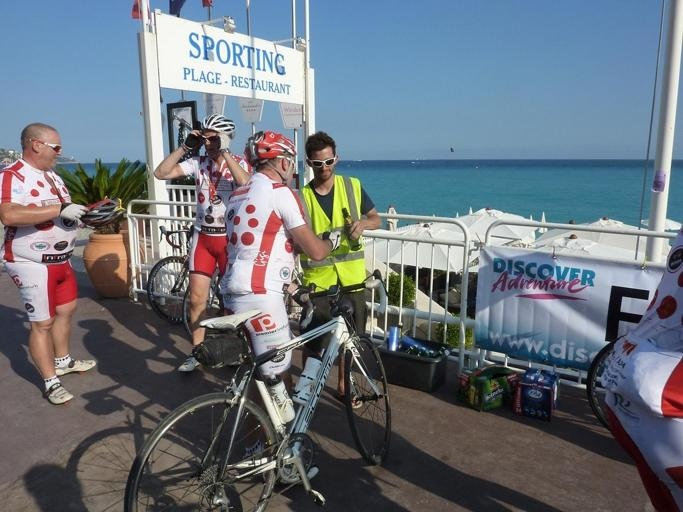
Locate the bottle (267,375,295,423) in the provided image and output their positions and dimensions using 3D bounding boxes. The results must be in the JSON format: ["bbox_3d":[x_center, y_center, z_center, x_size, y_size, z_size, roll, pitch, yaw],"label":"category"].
[{"bbox_3d":[-0.420,1.056,3.675,0.119,0.122,0.396,-1,28,-19],"label":"bottle"}]

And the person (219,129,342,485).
[{"bbox_3d":[-0.438,0.357,3.707,0.756,2.452,0.809,-7,15,-29],"label":"person"}]

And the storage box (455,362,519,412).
[{"bbox_3d":[1.517,1.314,5.201,0.509,0.336,0.377,-2,2,-28],"label":"storage box"}]

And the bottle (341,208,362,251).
[{"bbox_3d":[0.091,-0.185,4.341,0.179,0.379,0.511,1,13,2],"label":"bottle"}]

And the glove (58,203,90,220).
[{"bbox_3d":[-2.531,-0.413,4.741,0.199,0.075,0.153,1,-4,27],"label":"glove"}]

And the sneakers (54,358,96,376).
[{"bbox_3d":[-2.948,1.208,5.616,0.349,0.151,0.126,-10,16,-42],"label":"sneakers"}]

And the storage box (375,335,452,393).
[{"bbox_3d":[0.810,1.131,5.405,0.615,0.321,0.467,3,5,33],"label":"storage box"}]

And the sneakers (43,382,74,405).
[{"bbox_3d":[-2.820,1.378,5.057,0.293,0.124,0.145,8,8,38],"label":"sneakers"}]

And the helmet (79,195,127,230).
[{"bbox_3d":[-2.393,-0.427,5.120,0.398,0.195,0.451,8,21,23],"label":"helmet"}]

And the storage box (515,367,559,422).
[{"bbox_3d":[1.981,1.357,5.068,0.371,0.342,0.512,4,8,33],"label":"storage box"}]
